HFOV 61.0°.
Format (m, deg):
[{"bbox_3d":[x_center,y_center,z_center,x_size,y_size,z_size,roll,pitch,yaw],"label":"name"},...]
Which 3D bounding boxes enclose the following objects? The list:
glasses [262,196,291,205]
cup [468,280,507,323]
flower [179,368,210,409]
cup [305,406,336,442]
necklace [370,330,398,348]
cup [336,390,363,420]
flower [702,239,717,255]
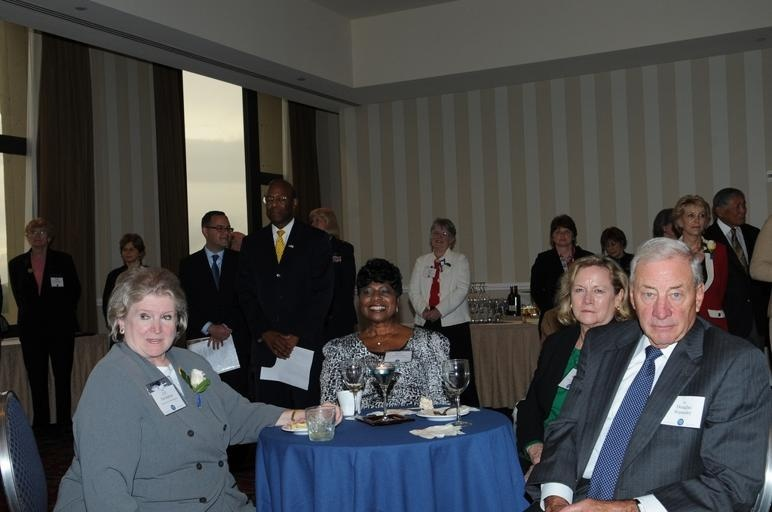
[{"bbox_3d":[-0.805,-0.427,4.932,0.147,0.053,0.035,-2,6,-11],"label":"glasses"},{"bbox_3d":[1.152,0.491,7.417,0.402,0.516,0.466,0,-7,-7],"label":"cup"},{"bbox_3d":[-0.945,0.653,3.264,0.158,0.177,0.156,5,-9,-44],"label":"flower"},{"bbox_3d":[-0.338,0.865,3.399,0.128,0.151,0.170,0,2,6],"label":"cup"},{"bbox_3d":[0.001,0.518,4.122,0.133,0.123,0.066,0,-25,6],"label":"necklace"},{"bbox_3d":[-0.199,0.863,3.773,0.119,0.125,0.136,3,-11,-21],"label":"cup"},{"bbox_3d":[2.729,-0.099,5.536,0.105,0.127,0.032,-22,9,17],"label":"flower"}]
